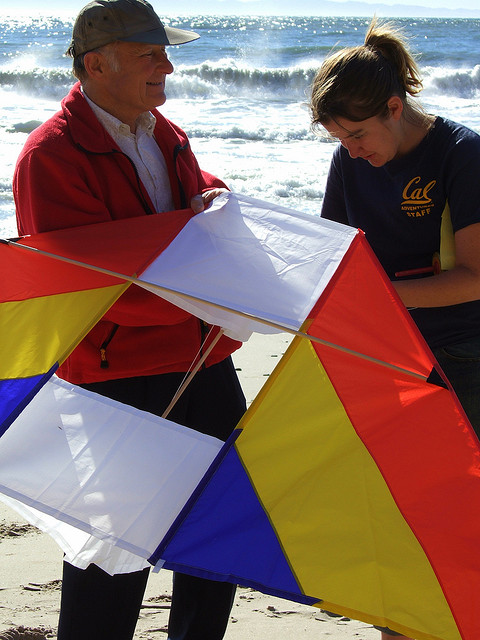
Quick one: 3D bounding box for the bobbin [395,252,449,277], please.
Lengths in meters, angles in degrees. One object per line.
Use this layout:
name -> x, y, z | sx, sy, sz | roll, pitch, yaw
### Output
bobbin -> 0.550, -0.159, 2.292 | 0.116, 0.065, 0.073 | -7, 20, -4

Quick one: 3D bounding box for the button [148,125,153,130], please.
button -> -0.266, -0.562, 2.238 | 0.014, 0.011, 0.002 | 11, -25, -4

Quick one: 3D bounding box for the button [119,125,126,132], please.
button -> -0.333, -0.539, 2.153 | 0.022, 0.016, 0.006 | 2, 13, -11
